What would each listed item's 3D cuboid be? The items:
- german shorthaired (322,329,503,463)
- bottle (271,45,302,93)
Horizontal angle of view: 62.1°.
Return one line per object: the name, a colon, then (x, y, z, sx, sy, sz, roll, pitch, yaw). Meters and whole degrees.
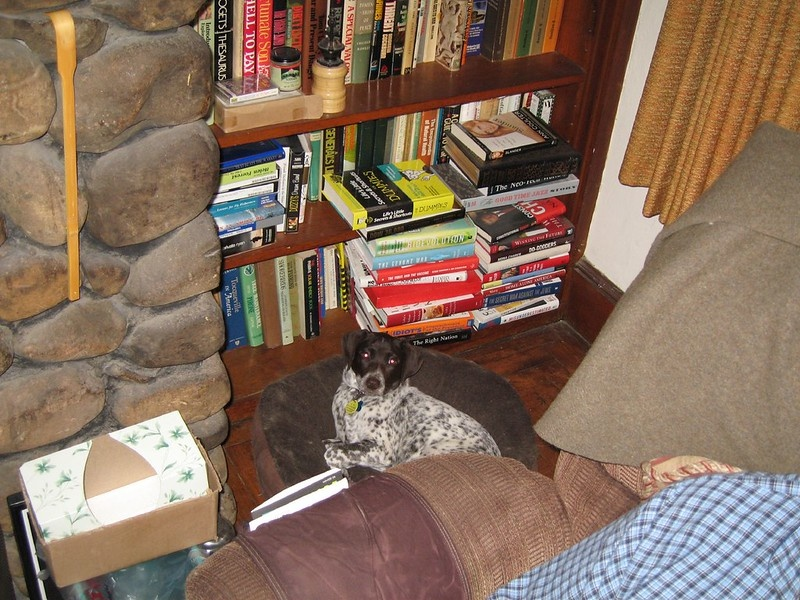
german shorthaired: (0.021, 0.354, 2.135, 0.523, 0.366, 0.374, 4, 24, -9)
bottle: (-0.358, -0.723, 2.078, 0.091, 0.116, 0.083, -16, 41, -24)
